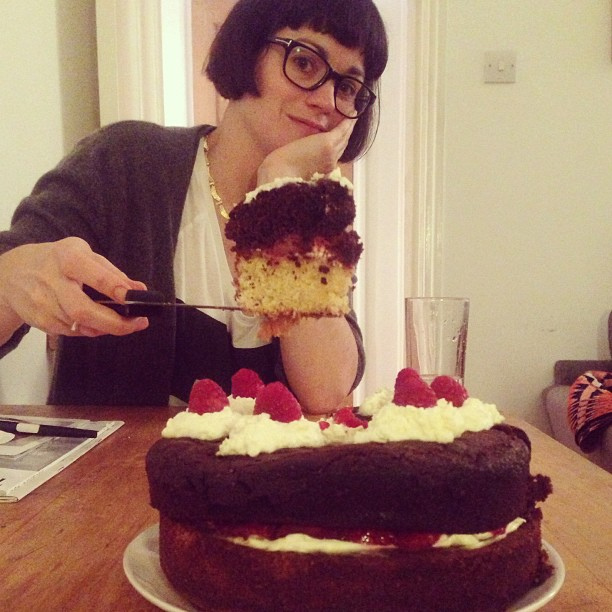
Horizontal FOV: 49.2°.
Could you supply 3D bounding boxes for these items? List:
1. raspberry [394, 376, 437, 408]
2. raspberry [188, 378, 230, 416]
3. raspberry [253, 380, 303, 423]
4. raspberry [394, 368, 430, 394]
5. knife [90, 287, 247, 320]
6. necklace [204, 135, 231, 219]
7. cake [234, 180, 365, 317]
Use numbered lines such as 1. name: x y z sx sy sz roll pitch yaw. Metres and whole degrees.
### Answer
1. raspberry: 0.193 0.155 1.196 0.056 0.041 0.073 -6 13 -30
2. raspberry: -0.201 0.178 1.278 0.070 0.075 0.089 2 5 19
3. raspberry: -0.040 0.163 1.280 0.109 0.068 0.085 0 30 48
4. raspberry: 0.206 0.144 1.282 0.067 0.027 0.090 1 -5 3
5. knife: -0.406 -0.007 1.951 0.436 0.034 0.050 8 -37 11
6. necklace: -0.332 -0.477 2.459 0.055 0.302 0.211 -6 13 -26
7. cake: -0.016 -0.126 1.469 0.285 0.295 0.121 0 12 -5
